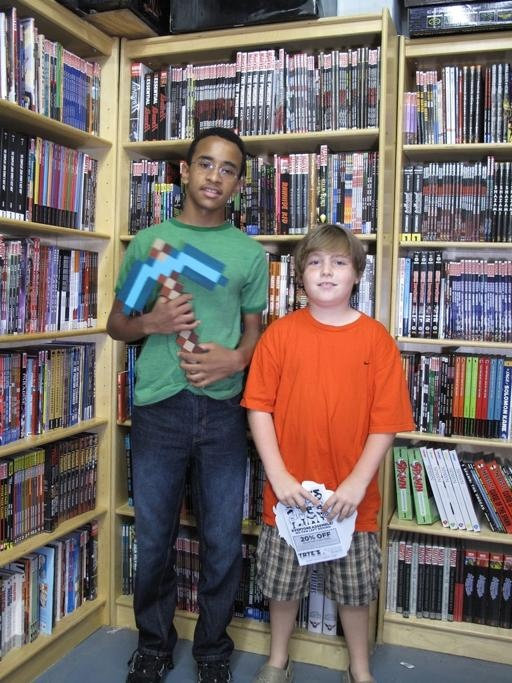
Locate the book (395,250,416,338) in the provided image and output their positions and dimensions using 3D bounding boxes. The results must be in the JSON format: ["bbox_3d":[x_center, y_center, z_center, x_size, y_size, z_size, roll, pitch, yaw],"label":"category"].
[{"bbox_3d":[0.486,-0.152,1.814,0.083,0.236,0.232,-1,17,7],"label":"book"}]

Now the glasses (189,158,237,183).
[{"bbox_3d":[-0.100,-0.455,1.472,0.112,0.057,0.060,1,5,-7],"label":"glasses"}]

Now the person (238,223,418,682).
[{"bbox_3d":[0.171,0.336,1.434,0.421,1.260,0.263,1,5,-2],"label":"person"}]
